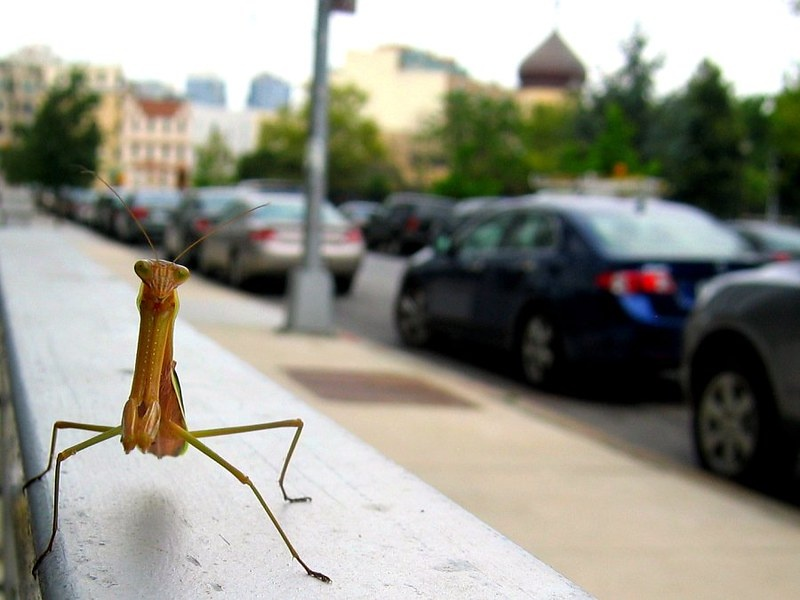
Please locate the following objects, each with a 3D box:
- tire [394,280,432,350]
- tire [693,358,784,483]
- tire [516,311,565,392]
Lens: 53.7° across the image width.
[{"bbox_3d":[0.176,0.179,9.342,0.238,0.818,0.755,-1,1,-24],"label":"tire"},{"bbox_3d":[2.198,0.780,5.076,0.226,0.778,0.722,6,0,-19],"label":"tire"},{"bbox_3d":[1.318,0.474,7.304,0.211,0.672,0.618,-4,7,-26],"label":"tire"}]
